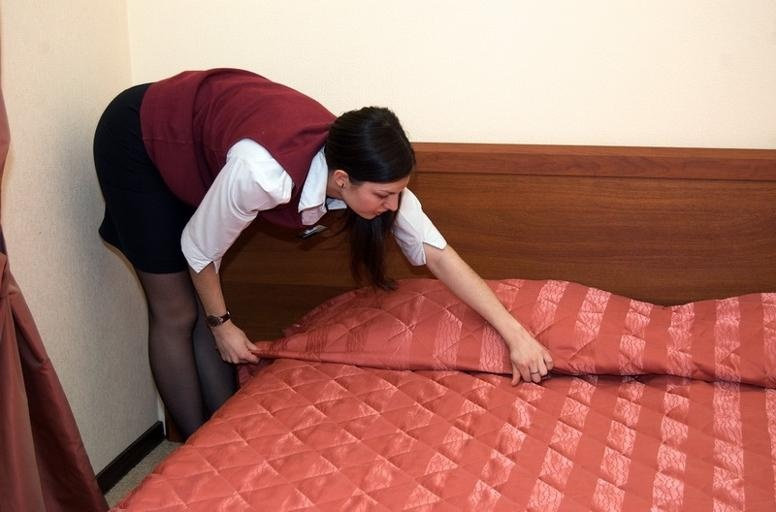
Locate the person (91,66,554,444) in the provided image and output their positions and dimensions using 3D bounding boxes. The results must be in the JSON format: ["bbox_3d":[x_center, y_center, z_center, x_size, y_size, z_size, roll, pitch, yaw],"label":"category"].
[{"bbox_3d":[-0.353,0.008,1.785,1.339,1.217,0.415,-1,21,18],"label":"person"}]

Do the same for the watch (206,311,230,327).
[{"bbox_3d":[-0.563,0.213,1.829,0.068,0.042,0.071,-6,-4,0],"label":"watch"}]
